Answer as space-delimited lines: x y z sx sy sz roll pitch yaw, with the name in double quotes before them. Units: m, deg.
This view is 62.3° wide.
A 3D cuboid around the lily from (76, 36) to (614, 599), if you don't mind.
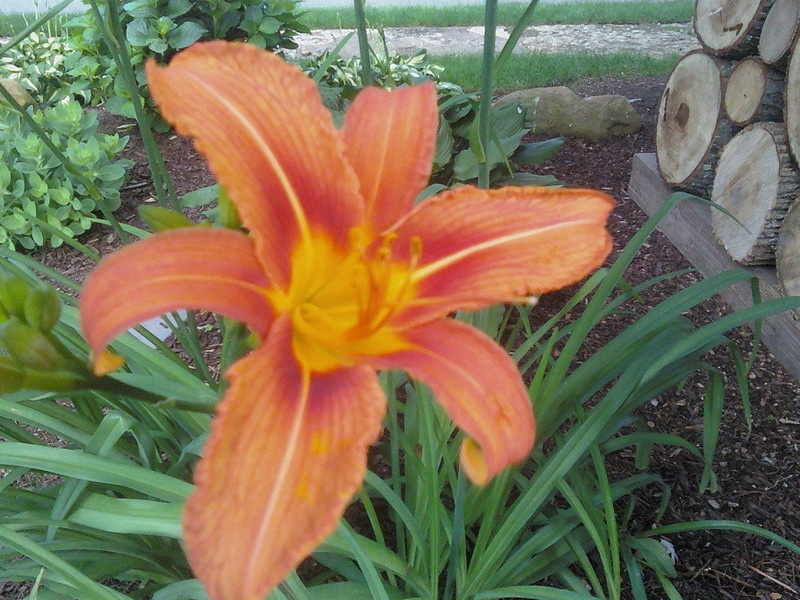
"lily" -0.058 -0.073 1.031 0.829 0.525 0.630 -26 45 -21
